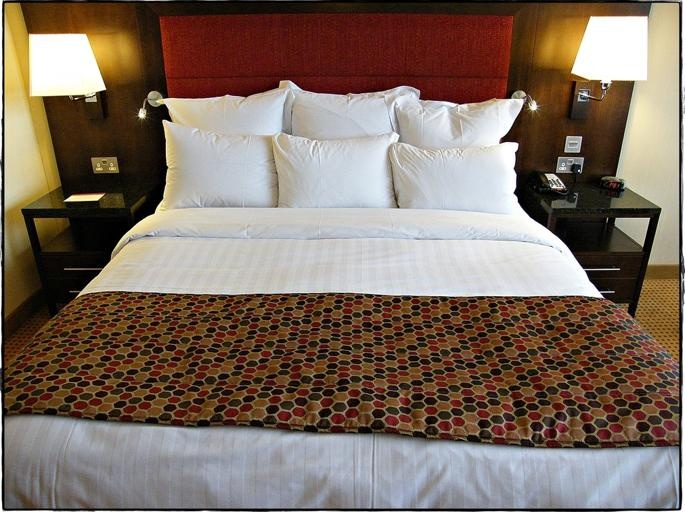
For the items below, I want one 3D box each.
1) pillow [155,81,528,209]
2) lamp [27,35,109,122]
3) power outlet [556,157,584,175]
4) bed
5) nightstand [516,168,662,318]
[{"bbox_3d":[-0.018,-0.627,2.804,2.077,0.652,0.591,1,23,3],"label":"pillow"},{"bbox_3d":[-1.635,-1.073,2.906,0.378,0.494,0.343,-10,25,-20],"label":"lamp"},{"bbox_3d":[1.507,-0.611,3.224,0.143,0.091,0.018,0,32,7],"label":"power outlet"},{"bbox_3d":[-0.023,0.283,2.014,2.205,0.582,1.480,2,21,4],"label":"bed"},{"bbox_3d":[1.533,-0.036,3.161,0.637,0.786,0.639,1,25,12],"label":"nightstand"}]
